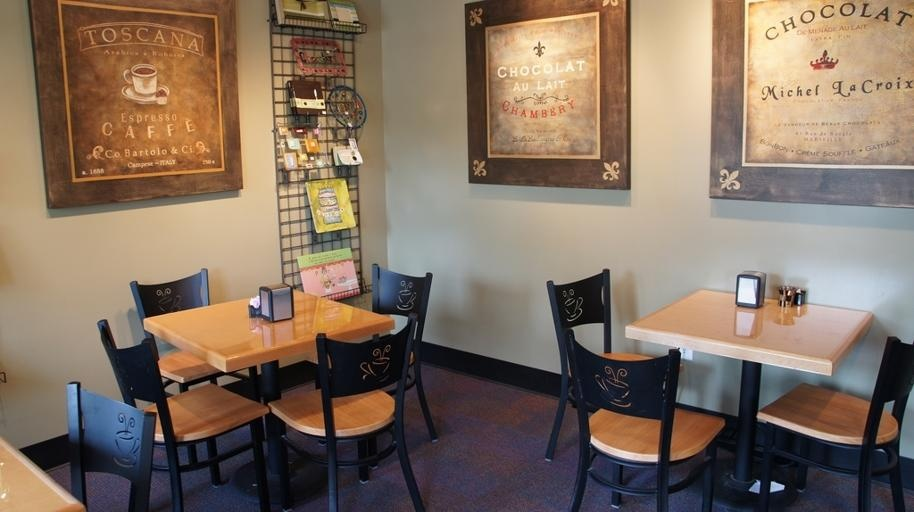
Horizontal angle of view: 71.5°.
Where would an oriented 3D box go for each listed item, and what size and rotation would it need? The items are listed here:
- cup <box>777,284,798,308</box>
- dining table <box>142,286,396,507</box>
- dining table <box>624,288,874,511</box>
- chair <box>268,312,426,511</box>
[{"bbox_3d":[2.194,0.271,4.222,0.100,0.143,0.158,0,2,16],"label":"cup"},{"bbox_3d":[-1.240,0.898,4.540,1.366,1.234,1.387,15,20,40],"label":"dining table"},{"bbox_3d":[1.876,0.904,4.378,1.443,1.294,1.452,6,11,42],"label":"dining table"},{"bbox_3d":[-0.681,1.034,4.000,0.945,1.285,0.522,-5,16,-6],"label":"chair"}]
